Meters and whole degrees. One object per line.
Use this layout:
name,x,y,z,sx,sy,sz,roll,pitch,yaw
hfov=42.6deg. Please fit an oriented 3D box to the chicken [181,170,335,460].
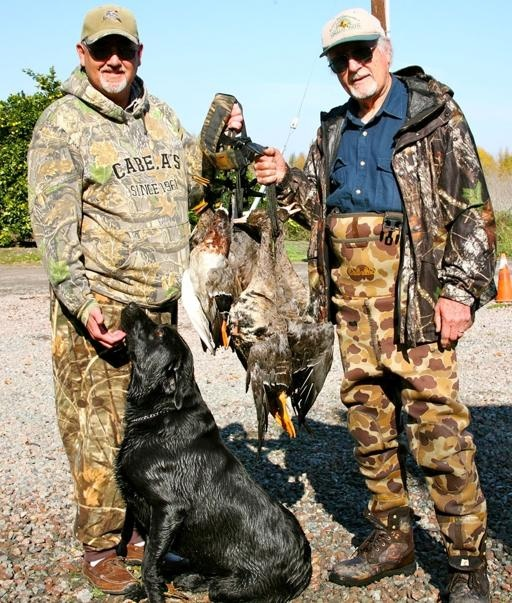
chicken,-0.044,0.044,3.455,0.925,1.319,1.233,9,21,7

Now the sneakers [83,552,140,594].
sneakers,-0.759,1.370,3.404,0.304,0.100,0.153,11,8,37

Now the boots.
boots,0.615,1.283,3.500,0.575,0.347,0.201,2,-6,-26
